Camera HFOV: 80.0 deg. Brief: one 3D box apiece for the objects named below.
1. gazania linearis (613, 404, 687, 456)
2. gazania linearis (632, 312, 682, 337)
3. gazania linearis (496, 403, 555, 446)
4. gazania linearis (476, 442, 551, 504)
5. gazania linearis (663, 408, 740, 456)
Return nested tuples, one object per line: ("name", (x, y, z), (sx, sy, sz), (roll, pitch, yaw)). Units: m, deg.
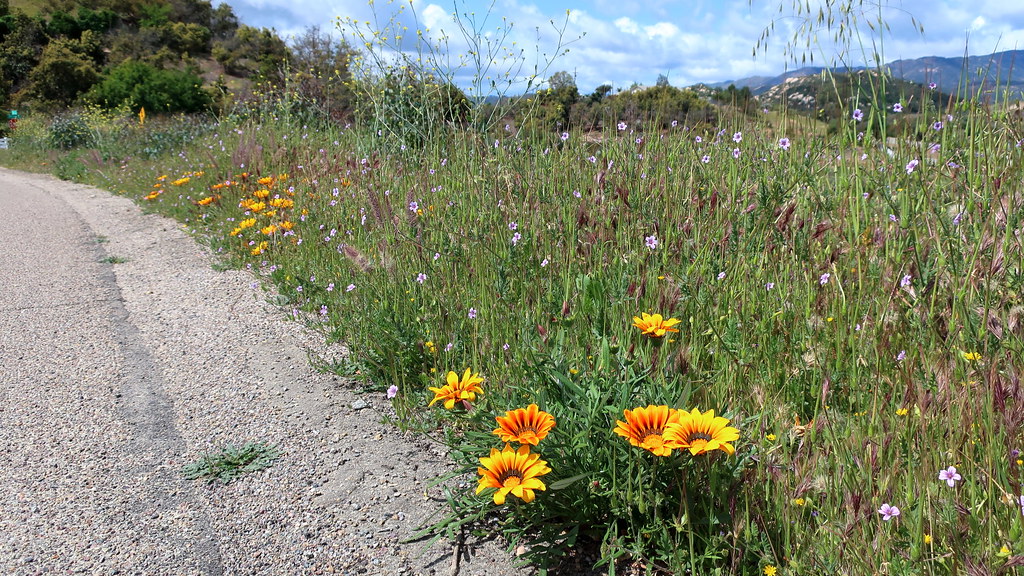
("gazania linearis", (0.691, 0.668, 2.940), (0.382, 0.128, 0.329), (-4, 9, -10))
("gazania linearis", (0.771, 0.223, 3.295), (0.172, 0.072, 0.172), (3, 38, 15))
("gazania linearis", (0.066, 0.698, 3.106), (0.250, 0.103, 0.231), (-18, 25, -28))
("gazania linearis", (-0.014, 0.931, 3.063), (0.365, 0.166, 0.392), (-4, 13, 15))
("gazania linearis", (0.895, 0.705, 2.931), (0.338, 0.136, 0.331), (-6, 5, -9))
